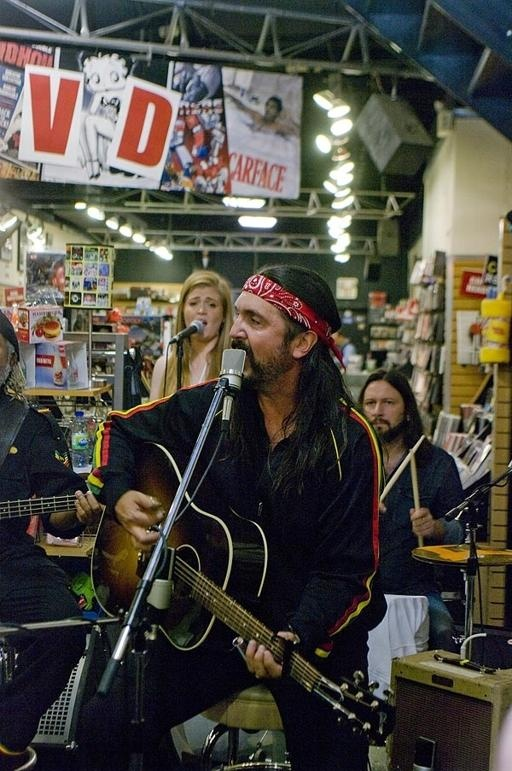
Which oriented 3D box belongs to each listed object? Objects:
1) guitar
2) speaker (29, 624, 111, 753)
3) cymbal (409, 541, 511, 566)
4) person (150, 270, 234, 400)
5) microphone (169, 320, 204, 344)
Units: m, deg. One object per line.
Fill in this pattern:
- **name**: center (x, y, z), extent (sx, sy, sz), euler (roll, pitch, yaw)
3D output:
- **guitar**: center (-0.095, 0.468, 1.570), extent (0.128, 0.399, 0.865), euler (5, 25, -44)
- **speaker**: center (-0.518, 0.765, 1.739), extent (0.065, 0.272, 0.217), euler (-12, -33, 20)
- **cymbal**: center (0.798, 0.661, 2.655), extent (0.235, 0.044, 0.232), euler (5, -5, -12)
- **person**: center (-0.290, -0.238, 3.552), extent (0.406, 0.732, 0.190), euler (7, 2, 37)
- **microphone**: center (-0.307, -0.223, 2.946), extent (0.064, 0.064, 0.252), euler (7, 17, 21)
